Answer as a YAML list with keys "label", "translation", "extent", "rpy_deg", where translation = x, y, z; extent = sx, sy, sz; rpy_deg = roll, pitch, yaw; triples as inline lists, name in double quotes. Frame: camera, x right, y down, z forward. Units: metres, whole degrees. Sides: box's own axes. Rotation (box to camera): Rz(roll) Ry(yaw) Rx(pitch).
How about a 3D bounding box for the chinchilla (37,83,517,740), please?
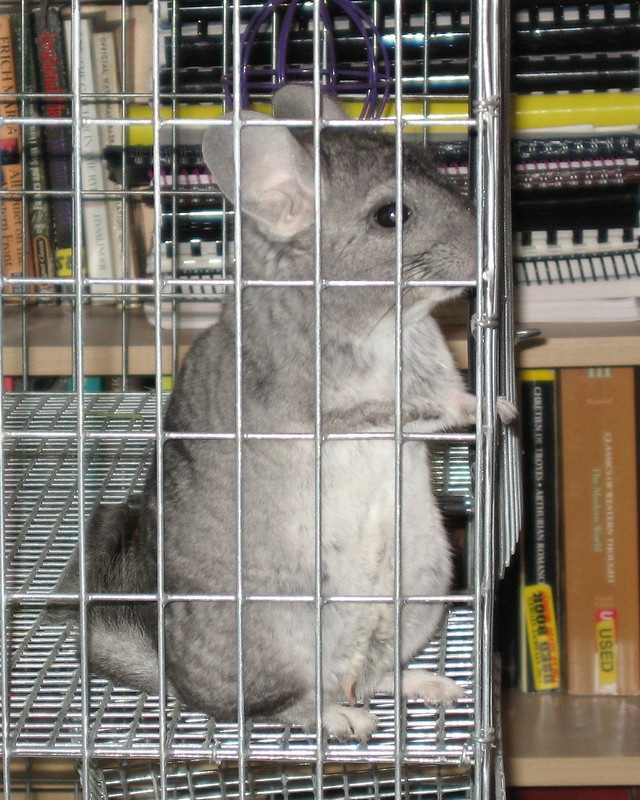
- label: "chinchilla"
  translation: [-0.049, 0.004, 2.692]
  extent: [0.606, 0.739, 0.625]
  rpy_deg: [-3, 1, -9]
